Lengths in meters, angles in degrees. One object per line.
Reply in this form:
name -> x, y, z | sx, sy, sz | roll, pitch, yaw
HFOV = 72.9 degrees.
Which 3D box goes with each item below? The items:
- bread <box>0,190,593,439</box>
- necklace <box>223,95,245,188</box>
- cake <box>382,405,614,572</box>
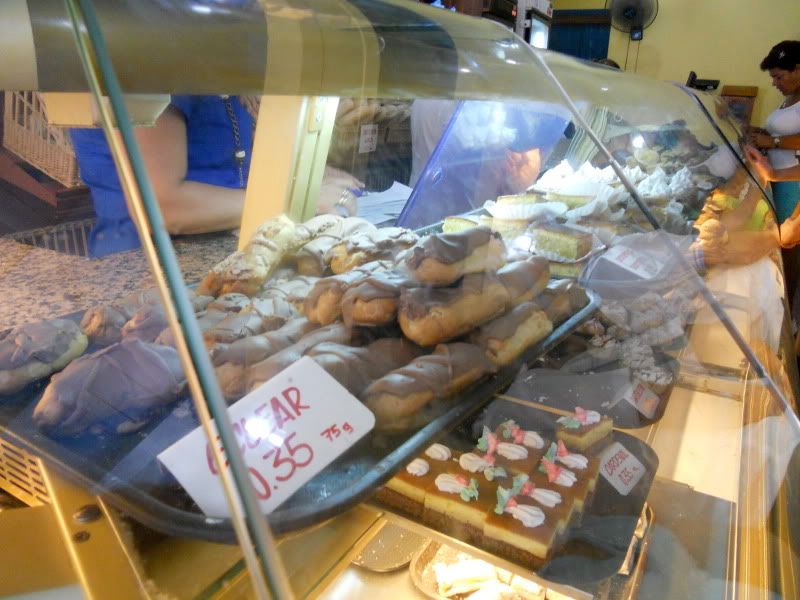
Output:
bread -> -0.075, 0.021, 0.723 | 0.800, 0.198, 0.257 | -7, 30, -21
necklace -> -0.202, -0.199, 0.676 | 0.015, 0.091, 0.018 | -6, 24, -4
cake -> 0.159, 0.265, 0.785 | 0.218, 0.057, 0.228 | 11, 28, 34
